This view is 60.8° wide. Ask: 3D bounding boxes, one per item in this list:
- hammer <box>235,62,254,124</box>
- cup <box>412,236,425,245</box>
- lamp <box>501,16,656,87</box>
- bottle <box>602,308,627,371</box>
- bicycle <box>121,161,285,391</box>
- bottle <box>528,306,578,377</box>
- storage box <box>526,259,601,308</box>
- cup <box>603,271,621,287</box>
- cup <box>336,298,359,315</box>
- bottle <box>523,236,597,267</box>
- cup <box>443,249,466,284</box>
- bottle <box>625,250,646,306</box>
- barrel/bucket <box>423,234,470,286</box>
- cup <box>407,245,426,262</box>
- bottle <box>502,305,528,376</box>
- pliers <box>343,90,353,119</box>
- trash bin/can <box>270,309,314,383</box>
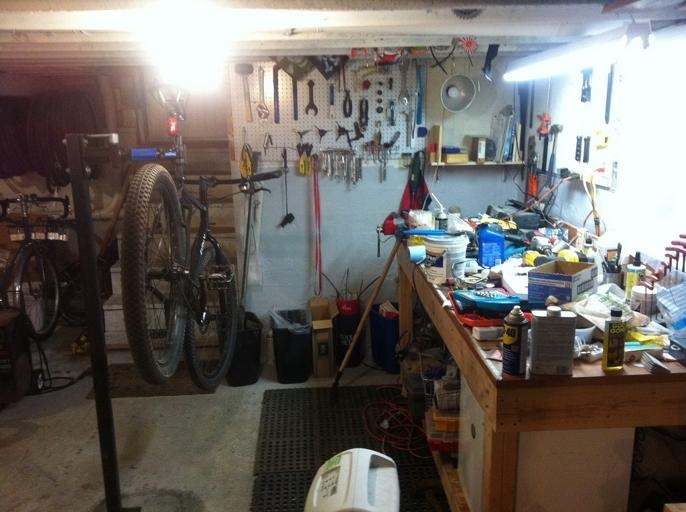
[{"bbox_3d":[-0.827,-1.378,4.931,0.156,0.482,0.108,-3,11,-11],"label":"hammer"},{"bbox_3d":[0.520,-0.106,4.150,0.058,0.060,0.060,1,2,0],"label":"cup"},{"bbox_3d":[1.396,-1.202,3.427,0.465,0.114,0.468,-24,12,23],"label":"lamp"},{"bbox_3d":[1.201,0.372,2.581,0.120,0.275,0.084,-1,11,-2],"label":"bottle"},{"bbox_3d":[-1.091,0.145,4.025,1.087,1.266,1.983,3,7,0],"label":"bicycle"},{"bbox_3d":[0.920,0.352,2.591,0.174,0.304,0.162,-3,16,1],"label":"bottle"},{"bbox_3d":[1.104,0.136,3.142,0.208,0.159,0.314,3,10,17],"label":"storage box"},{"bbox_3d":[1.537,0.135,3.346,0.082,0.067,0.086,-1,4,0],"label":"cup"},{"bbox_3d":[0.032,0.445,5.063,0.194,0.112,0.171,-3,11,-7],"label":"cup"},{"bbox_3d":[1.285,-0.027,3.578,0.221,0.075,0.242,-4,25,2],"label":"bottle"},{"bbox_3d":[0.660,0.062,3.502,0.153,0.181,0.158,-1,5,0],"label":"cup"},{"bbox_3d":[1.571,0.118,3.167,0.093,0.263,0.094,-1,14,0],"label":"bottle"},{"bbox_3d":[0.618,0.013,3.505,0.249,0.261,0.263,-1,13,0],"label":"barrel/bucket"},{"bbox_3d":[0.483,-0.019,3.871,0.097,0.106,0.113,-10,3,24],"label":"cup"},{"bbox_3d":[0.759,0.377,2.589,0.108,0.286,0.147,2,11,17],"label":"bottle"},{"bbox_3d":[0.029,-1.294,4.981,0.087,0.228,0.032,-2,11,-6],"label":"pliers"},{"bbox_3d":[-0.462,0.815,4.972,0.338,0.485,0.380,-1,-8,0],"label":"trash bin/can"}]
